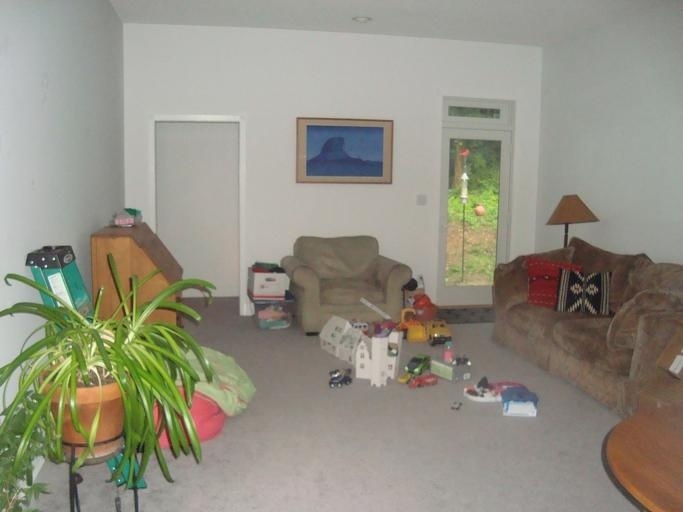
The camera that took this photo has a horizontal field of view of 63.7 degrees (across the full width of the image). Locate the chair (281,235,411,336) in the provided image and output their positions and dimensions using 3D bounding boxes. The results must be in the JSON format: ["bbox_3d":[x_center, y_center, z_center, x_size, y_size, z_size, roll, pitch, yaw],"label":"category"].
[{"bbox_3d":[0.005,0.244,5.771,1.282,0.990,0.941,0,2,-14],"label":"chair"}]

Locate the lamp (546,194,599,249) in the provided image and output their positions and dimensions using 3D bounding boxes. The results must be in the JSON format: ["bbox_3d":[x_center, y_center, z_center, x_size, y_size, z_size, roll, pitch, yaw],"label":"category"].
[{"bbox_3d":[2.379,-0.354,5.596,0.393,0.655,0.448,-11,14,-15],"label":"lamp"}]

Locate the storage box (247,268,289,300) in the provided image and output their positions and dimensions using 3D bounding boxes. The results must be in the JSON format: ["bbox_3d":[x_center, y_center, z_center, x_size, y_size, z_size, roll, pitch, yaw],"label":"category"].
[{"bbox_3d":[-0.754,0.244,5.697,0.331,0.222,0.348,3,16,-8],"label":"storage box"}]

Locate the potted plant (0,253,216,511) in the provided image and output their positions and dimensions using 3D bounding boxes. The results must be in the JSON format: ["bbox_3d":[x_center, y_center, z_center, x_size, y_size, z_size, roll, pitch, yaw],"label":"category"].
[{"bbox_3d":[-1.011,0.548,2.751,1.071,0.838,1.122,3,4,9],"label":"potted plant"}]

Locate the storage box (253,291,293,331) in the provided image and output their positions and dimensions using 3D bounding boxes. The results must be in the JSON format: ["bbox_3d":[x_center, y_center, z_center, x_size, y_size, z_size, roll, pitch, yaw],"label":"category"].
[{"bbox_3d":[-0.679,0.565,5.580,0.366,0.268,0.315,-1,4,-10],"label":"storage box"}]

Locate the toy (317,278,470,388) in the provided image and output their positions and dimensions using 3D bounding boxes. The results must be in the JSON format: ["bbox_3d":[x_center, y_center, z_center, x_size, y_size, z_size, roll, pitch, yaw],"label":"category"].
[{"bbox_3d":[0.424,0.691,4.831,1.220,0.428,1.424,1,11,0],"label":"toy"}]

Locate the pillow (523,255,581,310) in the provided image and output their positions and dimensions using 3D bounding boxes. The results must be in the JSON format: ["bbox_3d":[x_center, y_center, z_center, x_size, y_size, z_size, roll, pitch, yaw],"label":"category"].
[{"bbox_3d":[1.753,0.238,4.745,0.386,0.419,0.144,7,-5,23],"label":"pillow"}]

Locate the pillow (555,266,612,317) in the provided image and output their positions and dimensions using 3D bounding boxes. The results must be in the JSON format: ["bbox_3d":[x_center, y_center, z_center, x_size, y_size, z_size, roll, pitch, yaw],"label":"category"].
[{"bbox_3d":[2.010,0.314,4.540,0.345,0.386,0.099,6,-15,29],"label":"pillow"}]
